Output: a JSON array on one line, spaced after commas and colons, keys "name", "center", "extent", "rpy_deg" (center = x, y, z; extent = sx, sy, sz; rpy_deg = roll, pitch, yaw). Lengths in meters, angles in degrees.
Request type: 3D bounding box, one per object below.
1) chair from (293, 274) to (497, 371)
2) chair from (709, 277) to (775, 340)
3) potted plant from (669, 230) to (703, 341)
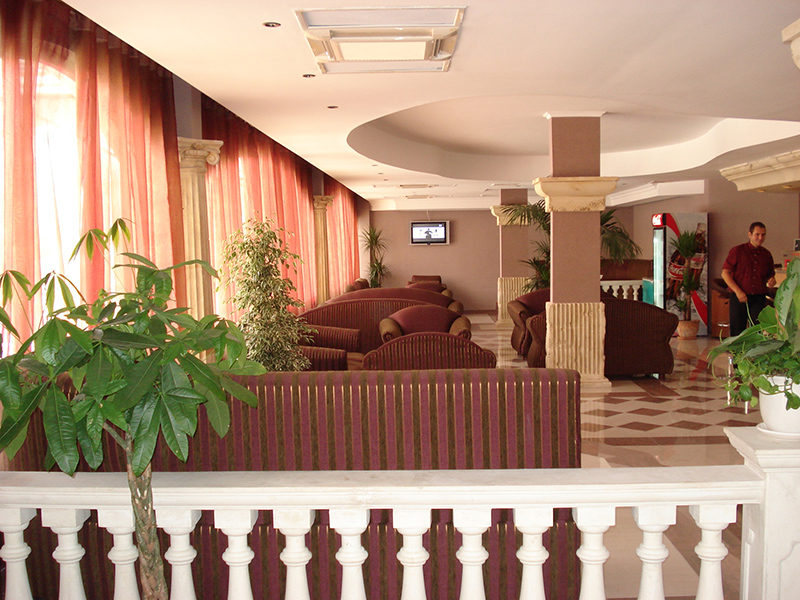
[{"name": "chair", "center": [-0.048, 0.168, 6.469], "extent": [0.989, 0.772, 1.264], "rpy_deg": [0, -10, -3]}, {"name": "chair", "center": [3.453, 0.053, 7.348], "extent": [0.279, 0.312, 0.957], "rpy_deg": [-19, -41, 31]}, {"name": "potted plant", "center": [4.670, -0.382, 11.794], "extent": [0.625, 1.525, 0.263], "rpy_deg": [0, 0, 16]}]
